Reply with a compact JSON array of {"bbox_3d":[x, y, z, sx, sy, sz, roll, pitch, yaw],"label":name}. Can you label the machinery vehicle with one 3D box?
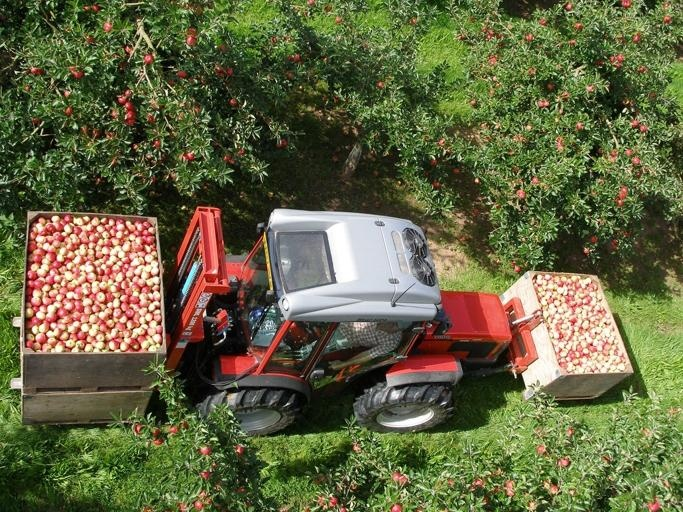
[{"bbox_3d":[-0.245,0.734,7.737,3.802,2.236,2.001,-3,65,-7],"label":"machinery vehicle"}]
